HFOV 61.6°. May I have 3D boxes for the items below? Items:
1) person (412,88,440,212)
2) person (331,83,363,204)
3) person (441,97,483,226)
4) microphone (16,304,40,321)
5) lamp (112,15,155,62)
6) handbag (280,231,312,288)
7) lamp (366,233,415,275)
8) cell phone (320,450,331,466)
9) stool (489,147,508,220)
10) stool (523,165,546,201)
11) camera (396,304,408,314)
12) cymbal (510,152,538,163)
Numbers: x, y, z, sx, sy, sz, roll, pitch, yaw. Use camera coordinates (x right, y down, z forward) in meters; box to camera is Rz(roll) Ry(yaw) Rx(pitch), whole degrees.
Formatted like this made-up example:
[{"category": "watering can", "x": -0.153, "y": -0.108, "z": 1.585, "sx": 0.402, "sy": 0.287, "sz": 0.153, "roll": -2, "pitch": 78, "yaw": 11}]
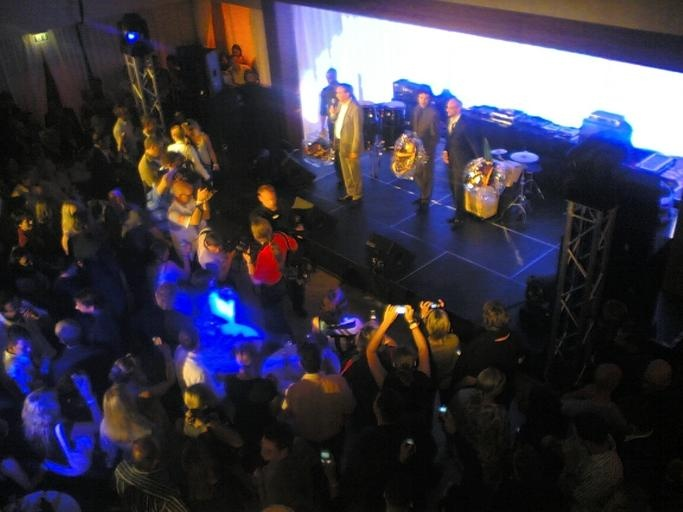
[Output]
[{"category": "person", "x": 1.464, "y": -1.761, "z": 10.076, "sx": 0.425, "sy": 1.851, "sz": 0.585, "roll": 0, "pitch": 24, "yaw": -2}, {"category": "person", "x": 0.107, "y": -2.007, "z": 10.308, "sx": 0.494, "sy": 2.096, "sz": 0.632, "roll": -14, "pitch": 28, "yaw": -30}, {"category": "person", "x": 1.941, "y": -1.588, "z": 9.594, "sx": 0.439, "sy": 2.049, "sz": 0.579, "roll": -15, "pitch": 29, "yaw": -32}, {"category": "microphone", "x": -3.635, "y": 0.658, "z": 6.627, "sx": 0.169, "sy": 0.046, "sz": 0.115, "roll": 27, "pitch": 59, "yaw": -10}, {"category": "lamp", "x": -3.951, "y": -4.200, "z": 10.941, "sx": 0.543, "sy": 0.799, "sz": 0.496, "roll": -8, "pitch": 26, "yaw": -21}, {"category": "handbag", "x": -0.542, "y": 0.051, "z": 7.138, "sx": 0.221, "sy": 0.633, "sz": 0.438, "roll": -4, "pitch": 13, "yaw": -32}, {"category": "lamp", "x": 0.686, "y": -0.019, "z": 8.833, "sx": 0.657, "sy": 0.654, "sz": 0.624, "roll": -13, "pitch": 30, "yaw": -34}, {"category": "cell phone", "x": -0.142, "y": 1.798, "z": 5.117, "sx": 0.104, "sy": 0.140, "sz": 0.063, "roll": 1, "pitch": 24, "yaw": 0}, {"category": "stool", "x": 2.600, "y": -1.120, "z": 9.537, "sx": 0.290, "sy": 1.019, "sz": 0.514, "roll": 8, "pitch": 25, "yaw": 16}, {"category": "stool", "x": 3.439, "y": -1.309, "z": 10.220, "sx": 0.425, "sy": 0.554, "sz": 0.426, "roll": 19, "pitch": 42, "yaw": 37}, {"category": "camera", "x": 0.647, "y": 0.568, "z": 6.150, "sx": 0.161, "sy": 0.052, "sz": 0.163, "roll": 0, "pitch": 26, "yaw": 3}, {"category": "cymbal", "x": 3.129, "y": -1.690, "z": 9.786, "sx": 0.312, "sy": 0.074, "sz": 0.315, "roll": 0, "pitch": 32, "yaw": 3}]
